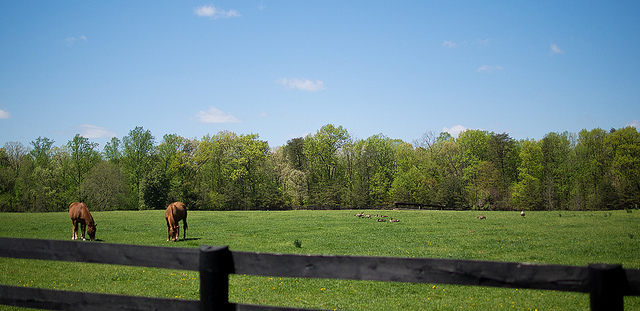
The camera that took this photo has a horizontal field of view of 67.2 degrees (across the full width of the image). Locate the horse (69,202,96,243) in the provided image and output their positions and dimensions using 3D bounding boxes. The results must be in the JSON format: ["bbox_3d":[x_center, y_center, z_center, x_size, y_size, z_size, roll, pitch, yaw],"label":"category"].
[{"bbox_3d":[-43.197,12.063,87.536,5.359,7.118,1.949,2,-2,24],"label":"horse"}]
